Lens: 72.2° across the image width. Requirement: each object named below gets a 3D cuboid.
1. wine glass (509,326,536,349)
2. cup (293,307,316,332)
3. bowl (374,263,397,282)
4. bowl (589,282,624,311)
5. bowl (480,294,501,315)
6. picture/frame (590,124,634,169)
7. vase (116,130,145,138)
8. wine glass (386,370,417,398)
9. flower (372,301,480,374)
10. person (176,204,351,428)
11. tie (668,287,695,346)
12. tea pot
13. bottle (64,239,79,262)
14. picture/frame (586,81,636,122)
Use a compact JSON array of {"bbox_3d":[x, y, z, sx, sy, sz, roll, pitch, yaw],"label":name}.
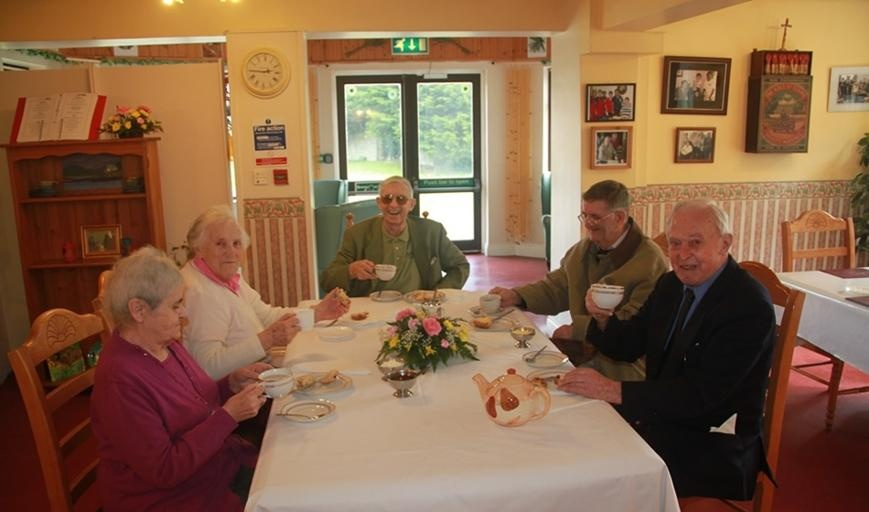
[{"bbox_3d":[0.601,0.549,4.069,0.140,0.087,0.135,1,1,3],"label":"wine glass"},{"bbox_3d":[-0.849,0.416,3.921,0.104,0.108,0.158,-1,2,-13],"label":"cup"},{"bbox_3d":[-0.393,0.122,4.672,0.149,0.122,0.193,-4,7,-8],"label":"bowl"},{"bbox_3d":[1.122,0.257,3.935,0.198,0.130,0.193,2,0,0],"label":"bowl"},{"bbox_3d":[0.419,0.350,4.436,0.145,0.112,0.141,-22,5,2],"label":"bowl"},{"bbox_3d":[1.966,-1.212,6.639,0.471,0.421,0.023,-5,13,-15],"label":"picture/frame"},{"bbox_3d":[-3.192,-1.285,6.247,0.148,0.049,0.134,-1,3,-1],"label":"vase"},{"bbox_3d":[-0.182,0.753,3.552,0.164,0.099,0.159,-1,-3,1],"label":"wine glass"},{"bbox_3d":[-0.035,0.525,3.815,0.585,0.325,0.615,-2,-3,-34],"label":"flower"},{"bbox_3d":[-1.241,0.463,4.424,1.252,1.411,0.960,-16,27,-41],"label":"person"},{"bbox_3d":[1.593,0.352,3.845,0.062,0.503,0.076,39,-23,-30],"label":"tie"},{"bbox_3d":[0.444,0.809,3.434,0.463,0.295,0.301,7,15,33],"label":"tea pot"},{"bbox_3d":[-3.847,-0.059,6.297,0.127,0.223,0.292,-8,8,-31],"label":"bottle"},{"bbox_3d":[1.935,-1.699,6.591,0.601,0.404,0.027,-6,13,-18],"label":"picture/frame"}]
